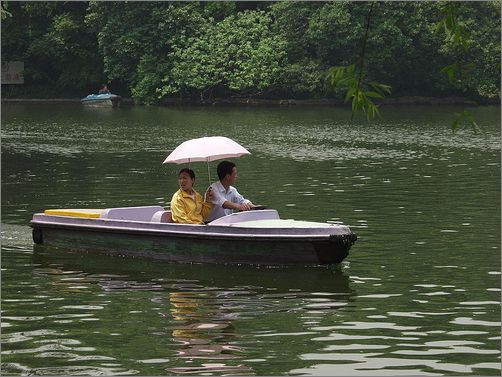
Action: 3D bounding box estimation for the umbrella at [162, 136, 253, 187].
[{"bbox_3d":[-0.856,-0.650,19.649,1.263,0.595,1.084,-8,-6,-8],"label":"umbrella"}]

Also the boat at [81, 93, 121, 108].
[{"bbox_3d":[-9.537,-5.599,67.262,1.616,0.960,2.183,9,15,39],"label":"boat"}]

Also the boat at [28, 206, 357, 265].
[{"bbox_3d":[-1.111,0.872,18.911,5.950,0.803,1.794,1,0,19],"label":"boat"}]
